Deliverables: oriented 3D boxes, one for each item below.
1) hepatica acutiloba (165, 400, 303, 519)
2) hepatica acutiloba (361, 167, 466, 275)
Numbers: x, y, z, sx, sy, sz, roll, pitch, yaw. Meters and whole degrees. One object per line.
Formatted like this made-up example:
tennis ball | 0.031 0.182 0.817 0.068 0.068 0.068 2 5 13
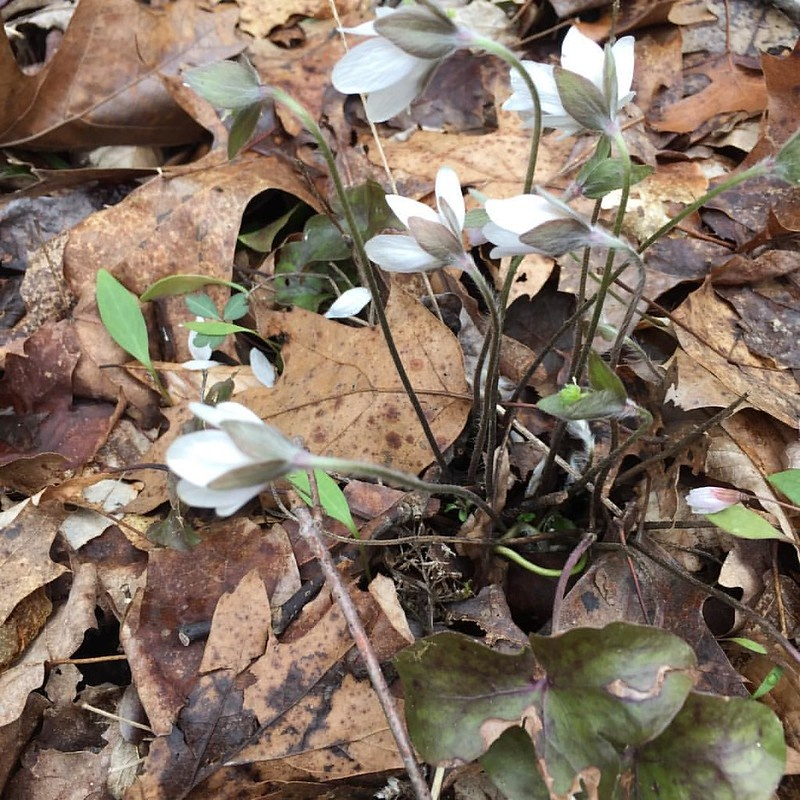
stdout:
hepatica acutiloba | -0.257 0.083 1.392 0.228 0.187 0.174 -4 26 -13
hepatica acutiloba | 0.015 -0.327 1.623 0.212 0.186 0.174 -3 24 -15
